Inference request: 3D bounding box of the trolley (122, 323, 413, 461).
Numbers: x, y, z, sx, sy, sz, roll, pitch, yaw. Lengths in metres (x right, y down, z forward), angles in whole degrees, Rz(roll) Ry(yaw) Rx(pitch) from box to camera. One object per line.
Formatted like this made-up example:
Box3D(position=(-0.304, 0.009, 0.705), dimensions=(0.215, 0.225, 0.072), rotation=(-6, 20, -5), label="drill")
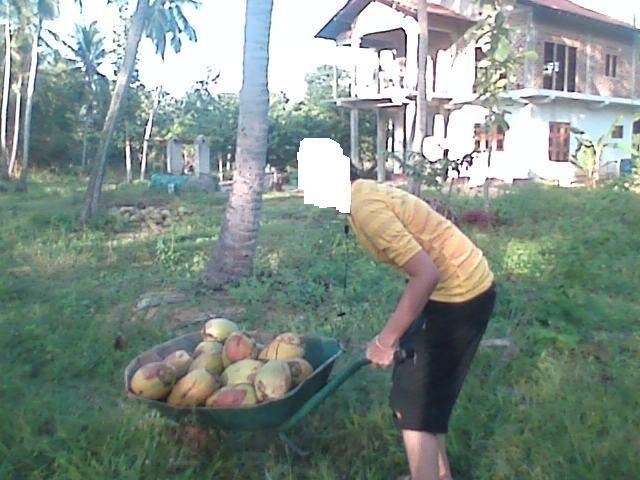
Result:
Box3D(position=(-0.727, 1.360, 4.947), dimensions=(1.607, 0.819, 1.218), rotation=(5, 12, 11), label="trolley")
